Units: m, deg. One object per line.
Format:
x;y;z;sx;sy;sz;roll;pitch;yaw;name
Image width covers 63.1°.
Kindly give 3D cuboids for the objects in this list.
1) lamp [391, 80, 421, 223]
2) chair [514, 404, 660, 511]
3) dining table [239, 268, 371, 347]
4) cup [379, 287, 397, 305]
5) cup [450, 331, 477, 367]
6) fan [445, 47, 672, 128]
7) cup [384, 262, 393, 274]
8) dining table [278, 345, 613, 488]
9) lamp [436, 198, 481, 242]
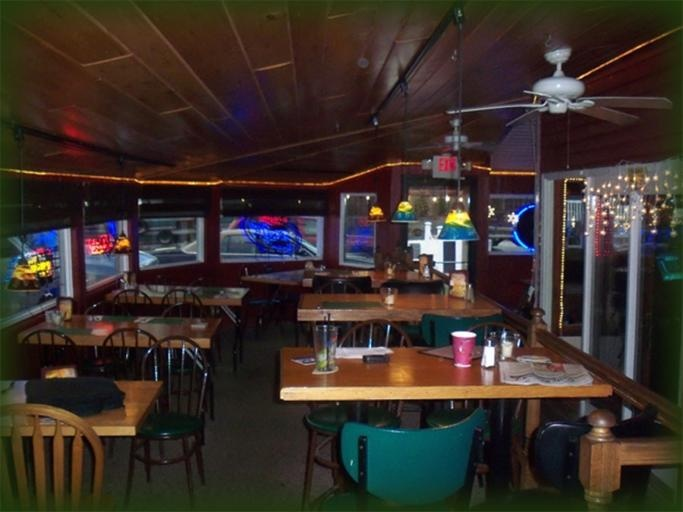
0.776;-1.217;6.583;0.327;1.677;0.314;0;13;14;lamp
1.138;0.939;2.671;0.451;0.530;0.484;-1;1;-23;chair
-0.458;0.609;6.461;1.081;0.631;1.045;0;0;-5;dining table
0.420;0.358;4.938;0.143;0.141;0.139;1;-7;0;cup
0.686;0.545;3.219;0.178;0.174;0.177;2;-13;0;cup
1.325;-1.013;3.189;1.087;0.424;0.363;-3;7;-20;fan
0.587;0.165;6.801;0.120;0.128;0.116;0;-3;0;cup
0.562;1.058;3.280;1.762;0.824;0.921;-2;3;3;dining table
0.852;-0.282;4.092;0.339;0.314;0.348;6;11;35;lamp
